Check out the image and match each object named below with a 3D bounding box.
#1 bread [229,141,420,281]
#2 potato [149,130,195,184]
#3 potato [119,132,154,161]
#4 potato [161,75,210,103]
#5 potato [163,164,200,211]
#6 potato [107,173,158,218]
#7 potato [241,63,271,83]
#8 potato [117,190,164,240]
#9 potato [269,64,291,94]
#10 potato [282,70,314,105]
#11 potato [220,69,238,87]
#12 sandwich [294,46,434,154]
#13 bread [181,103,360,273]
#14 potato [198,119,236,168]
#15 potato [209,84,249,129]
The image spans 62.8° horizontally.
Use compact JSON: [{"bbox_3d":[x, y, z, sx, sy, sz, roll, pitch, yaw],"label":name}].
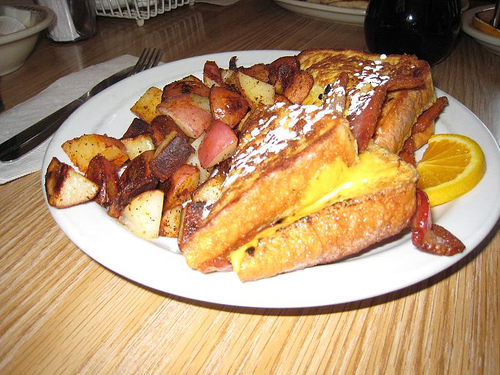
[{"bbox_3d":[0.273,0.051,1.538,0.524,0.448,0.532,1,16,4],"label":"bread"},{"bbox_3d":[-0.320,-0.125,1.716,0.209,0.172,0.137,1,25,9],"label":"potato"},{"bbox_3d":[-0.488,-0.202,1.833,0.118,0.100,0.178,29,41,30],"label":"potato"},{"bbox_3d":[-0.313,-0.483,1.975,0.153,0.051,0.172,3,38,14],"label":"potato"},{"bbox_3d":[-0.275,-0.006,1.622,0.070,0.153,0.156,22,32,40],"label":"potato"},{"bbox_3d":[-0.500,-0.003,1.635,0.238,0.143,0.155,-20,27,-38],"label":"potato"},{"bbox_3d":[0.044,-0.573,2.036,0.124,0.043,0.124,-32,49,-29],"label":"potato"},{"bbox_3d":[-0.396,0.100,1.521,0.141,0.047,0.198,2,58,-1],"label":"potato"},{"bbox_3d":[0.139,-0.505,1.892,0.111,0.034,0.120,-20,64,21],"label":"potato"},{"bbox_3d":[0.212,-0.437,1.788,0.092,0.042,0.181,27,93,33],"label":"potato"},{"bbox_3d":[-0.117,-0.561,2.077,0.086,0.026,0.118,-19,60,12],"label":"potato"},{"bbox_3d":[0.459,-0.394,1.698,0.481,0.152,0.526,10,49,21],"label":"sandwich"},{"bbox_3d":[0.061,-0.031,1.442,0.542,0.217,0.802,-1,37,27],"label":"bread"},{"bbox_3d":[-0.123,-0.181,1.685,0.068,0.183,0.164,21,21,-21],"label":"potato"},{"bbox_3d":[-0.100,-0.361,1.798,0.173,0.170,0.102,-8,25,-15],"label":"potato"}]
